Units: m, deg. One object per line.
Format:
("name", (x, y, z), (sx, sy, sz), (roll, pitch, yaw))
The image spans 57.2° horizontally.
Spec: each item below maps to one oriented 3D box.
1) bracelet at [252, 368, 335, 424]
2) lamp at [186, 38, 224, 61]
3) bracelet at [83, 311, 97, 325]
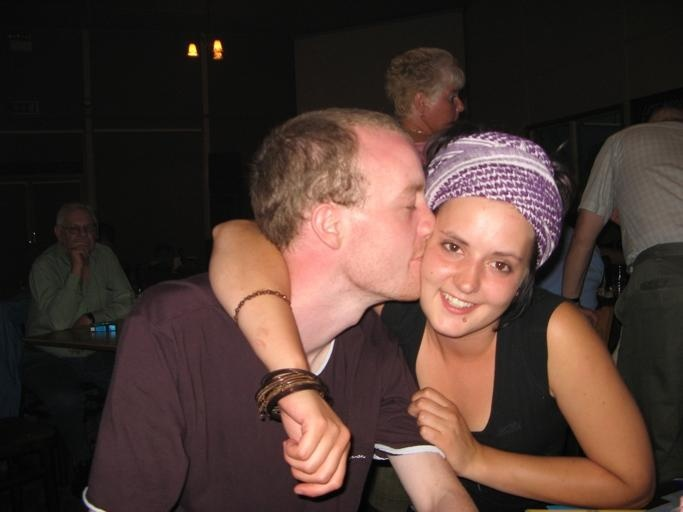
("bracelet", (-0.190, 0.515, 2.392), (0.222, 0.211, 0.099), (9, 41, -11))
("lamp", (-2.437, -3.740, 11.265), (0.595, 0.349, 0.620), (11, 19, 40))
("bracelet", (-2.325, 0.580, 5.820), (0.114, 0.133, 0.052), (-8, -14, -18))
